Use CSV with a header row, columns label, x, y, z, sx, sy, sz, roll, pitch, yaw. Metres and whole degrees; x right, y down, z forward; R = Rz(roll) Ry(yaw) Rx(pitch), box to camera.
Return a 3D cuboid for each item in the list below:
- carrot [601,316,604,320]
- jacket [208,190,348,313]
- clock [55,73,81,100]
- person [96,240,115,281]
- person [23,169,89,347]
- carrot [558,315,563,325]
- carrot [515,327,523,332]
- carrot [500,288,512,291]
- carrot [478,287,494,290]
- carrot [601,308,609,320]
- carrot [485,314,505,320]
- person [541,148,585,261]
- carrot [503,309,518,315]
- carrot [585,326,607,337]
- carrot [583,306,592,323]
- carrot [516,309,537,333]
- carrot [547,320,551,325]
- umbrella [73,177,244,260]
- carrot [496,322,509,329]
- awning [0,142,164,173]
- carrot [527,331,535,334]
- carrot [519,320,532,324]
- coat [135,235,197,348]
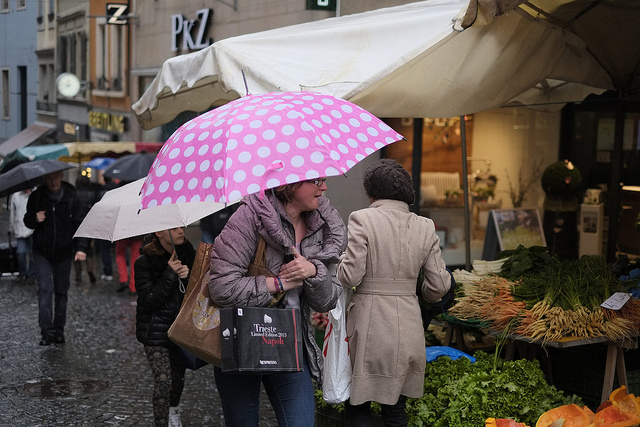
label,x,y,z,sx,sy,sz,roll,pitch,yaw
carrot,2.793,1.023,6.713,0.021,0.027,0.023,18,20,34
jacket,-0.283,0.287,5.536,1.081,1.090,0.639,8,-2,-28
clock,-9.482,-4.836,25.675,0.788,1.003,0.888,1,8,-40
person,-4.666,0.972,14.775,0.279,0.983,1.219,-9,9,-18
person,-3.965,0.585,10.235,0.868,2.652,0.739,1,0,-32
carrot,2.351,1.028,6.624,0.018,0.088,0.009,-14,-24,10
carrot,1.977,1.146,6.729,0.064,0.039,0.026,-2,10,28
carrot,1.947,0.786,7.081,0.115,0.027,0.047,-6,10,10
carrot,1.778,0.788,7.191,0.028,0.032,0.143,-15,12,-43
carrot,2.830,0.981,6.732,0.020,0.082,0.087,-10,34,-14
carrot,1.775,1.046,6.889,0.200,0.062,0.042,-2,10,29
person,3.431,0.157,9.645,0.524,1.871,0.526,1,13,17
carrot,1.935,0.976,6.818,0.117,0.030,0.021,30,-4,30
carrot,2.660,1.137,6.642,0.126,0.093,0.038,-8,9,-9
carrot,2.623,0.990,6.671,0.079,0.039,0.109,-19,59,-38
carrot,2.052,1.065,6.726,0.043,0.253,0.044,21,-21,36
carrot,2.241,1.058,6.644,0.011,0.040,0.009,26,1,-21
umbrella,-1.857,0.073,7.706,1.216,0.914,1.416,-14,12,9
carrot,1.845,1.119,6.848,0.025,0.092,0.012,39,12,-11
awning,-5.054,-1.241,14.702,1.563,0.367,1.642,-4,-4,-4
carrot,2.063,1.162,6.641,0.069,0.024,0.016,2,13,45
carrot,2.035,1.065,6.725,0.109,0.041,0.031,1,12,41
coat,-1.632,0.836,6.980,0.604,1.173,0.318,-9,9,-14
